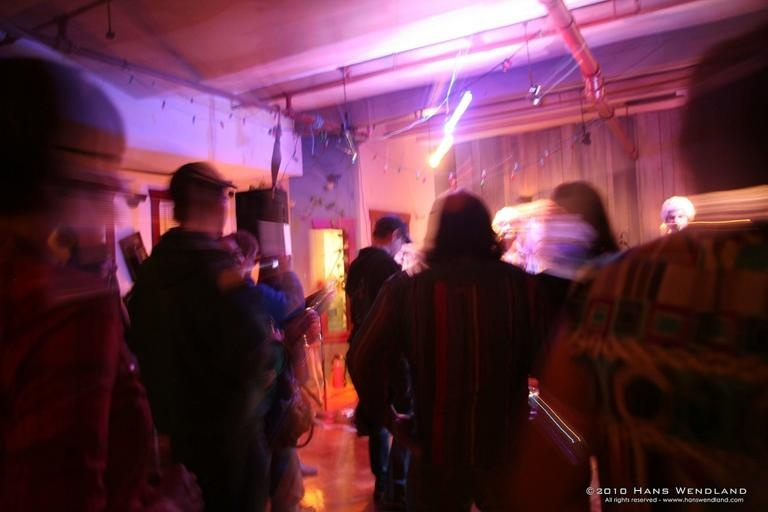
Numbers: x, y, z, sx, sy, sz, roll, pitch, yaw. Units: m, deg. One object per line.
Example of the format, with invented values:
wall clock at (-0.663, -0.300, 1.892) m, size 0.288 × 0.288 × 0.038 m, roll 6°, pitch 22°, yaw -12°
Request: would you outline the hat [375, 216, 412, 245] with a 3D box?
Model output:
hat at (0.063, -0.191, 4.399) m, size 0.238 × 0.252 × 0.190 m, roll -5°, pitch -1°, yaw -25°
